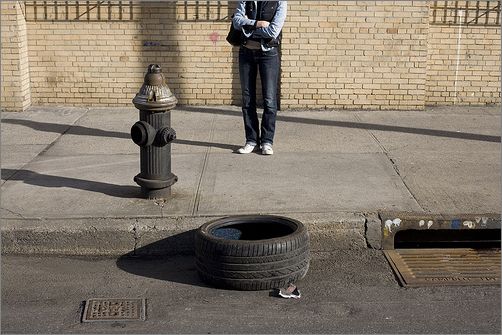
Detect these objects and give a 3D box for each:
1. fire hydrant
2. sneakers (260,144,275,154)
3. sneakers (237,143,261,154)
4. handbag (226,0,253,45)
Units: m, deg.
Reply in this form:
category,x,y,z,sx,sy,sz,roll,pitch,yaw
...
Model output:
category,x,y,z,sx,sy,sz,roll,pitch,yaw
fire hydrant,-1.130,-0.400,6.351,0.539,1.546,0.497,-2,22,-7
sneakers,0.222,-0.255,7.961,0.157,0.103,0.271,-1,7,-7
sneakers,-0.030,-0.270,8.050,0.335,0.105,0.117,-7,16,-40
handbag,-0.205,-2.024,7.741,0.423,0.627,0.534,-2,16,-14
